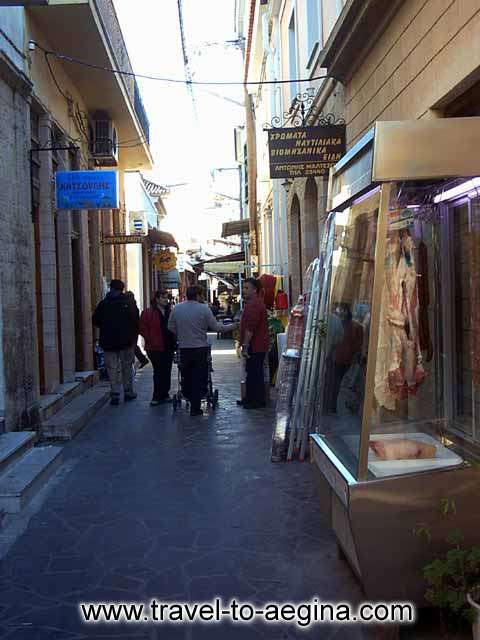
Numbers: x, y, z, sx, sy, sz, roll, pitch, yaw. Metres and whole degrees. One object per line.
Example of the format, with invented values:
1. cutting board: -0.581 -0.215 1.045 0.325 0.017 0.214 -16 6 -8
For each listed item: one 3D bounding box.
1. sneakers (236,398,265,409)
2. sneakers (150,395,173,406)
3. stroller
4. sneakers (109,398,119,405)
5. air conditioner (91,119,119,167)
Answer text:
1. sneakers: 0.163 1.374 8.115 0.454 0.253 0.171 -4 1 19
2. sneakers: -1.350 1.364 8.671 0.386 0.213 0.143 -10 4 -22
3. stroller: -0.782 0.941 8.419 0.658 1.278 1.110 -5 -5 0
4. sneakers: -2.183 1.403 8.657 0.104 0.127 0.116 1 -4 3
5. air conditioner: -3.262 -4.012 12.158 0.487 1.141 1.206 -4 -31 -10
